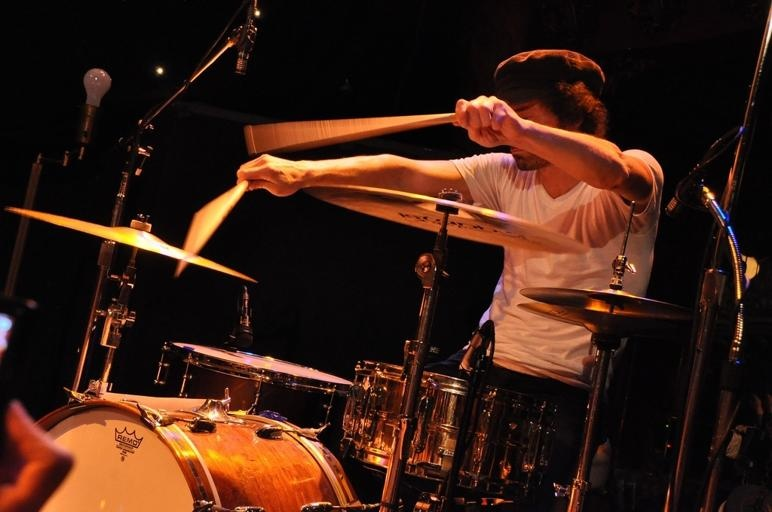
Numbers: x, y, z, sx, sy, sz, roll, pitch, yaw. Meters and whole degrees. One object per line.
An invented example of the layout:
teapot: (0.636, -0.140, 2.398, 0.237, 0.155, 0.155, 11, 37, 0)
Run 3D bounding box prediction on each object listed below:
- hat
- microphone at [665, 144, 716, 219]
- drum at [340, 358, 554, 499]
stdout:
hat: (0.845, -0.924, 4.011, 0.374, 0.127, 0.322, -4, -2, -25)
microphone: (1.334, -0.325, 3.423, 0.120, 0.237, 0.318, 10, -12, 11)
drum: (0.255, 0.756, 3.325, 0.676, 0.289, 0.698, 14, -9, 2)
